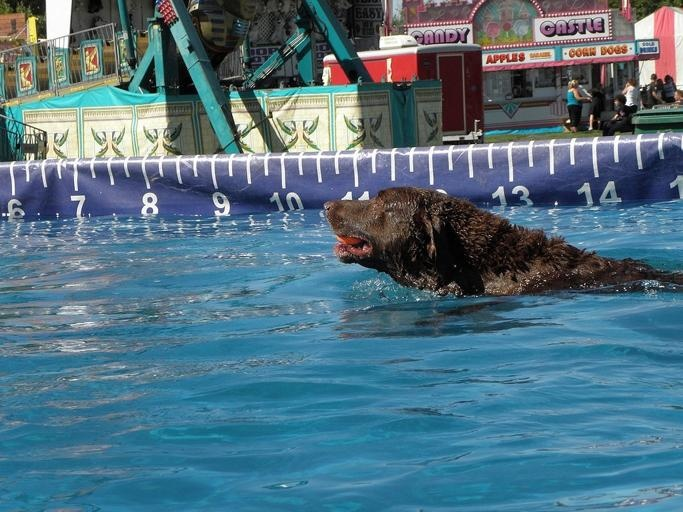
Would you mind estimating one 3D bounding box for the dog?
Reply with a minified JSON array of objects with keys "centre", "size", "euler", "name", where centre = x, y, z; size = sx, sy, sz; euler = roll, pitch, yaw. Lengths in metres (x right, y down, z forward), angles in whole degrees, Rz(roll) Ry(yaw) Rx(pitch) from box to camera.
[{"centre":[0.960,-0.084,7.434],"size":[2.912,0.750,0.908],"euler":[0,21,18],"name":"dog"}]
